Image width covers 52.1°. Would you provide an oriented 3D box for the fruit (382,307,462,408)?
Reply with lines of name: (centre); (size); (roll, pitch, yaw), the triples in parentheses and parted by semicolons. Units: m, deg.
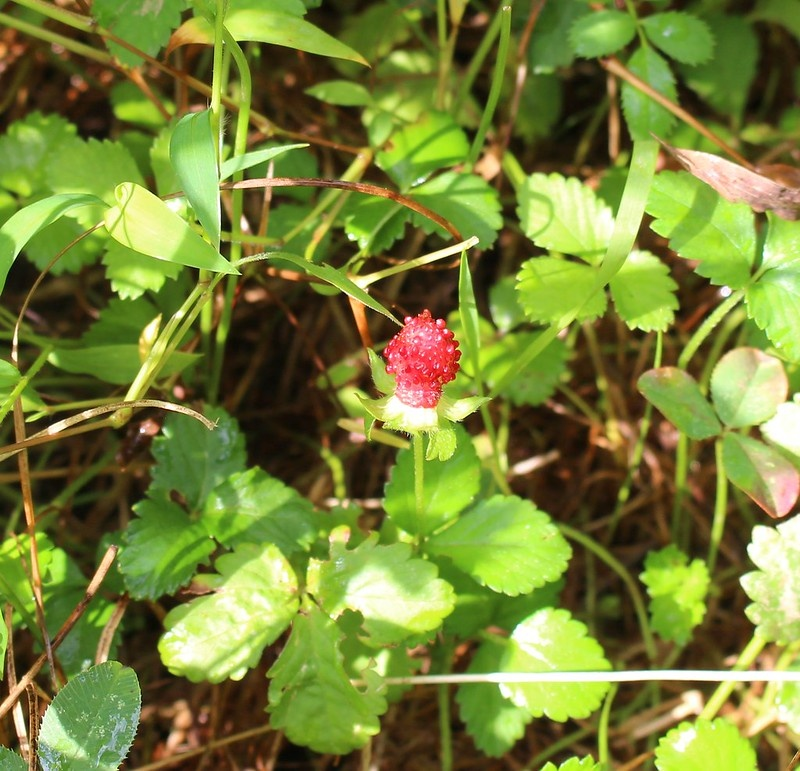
fruit: (0.040, -0.045, 1.528); (0.161, 0.154, 0.148); (8, 26, -1)
